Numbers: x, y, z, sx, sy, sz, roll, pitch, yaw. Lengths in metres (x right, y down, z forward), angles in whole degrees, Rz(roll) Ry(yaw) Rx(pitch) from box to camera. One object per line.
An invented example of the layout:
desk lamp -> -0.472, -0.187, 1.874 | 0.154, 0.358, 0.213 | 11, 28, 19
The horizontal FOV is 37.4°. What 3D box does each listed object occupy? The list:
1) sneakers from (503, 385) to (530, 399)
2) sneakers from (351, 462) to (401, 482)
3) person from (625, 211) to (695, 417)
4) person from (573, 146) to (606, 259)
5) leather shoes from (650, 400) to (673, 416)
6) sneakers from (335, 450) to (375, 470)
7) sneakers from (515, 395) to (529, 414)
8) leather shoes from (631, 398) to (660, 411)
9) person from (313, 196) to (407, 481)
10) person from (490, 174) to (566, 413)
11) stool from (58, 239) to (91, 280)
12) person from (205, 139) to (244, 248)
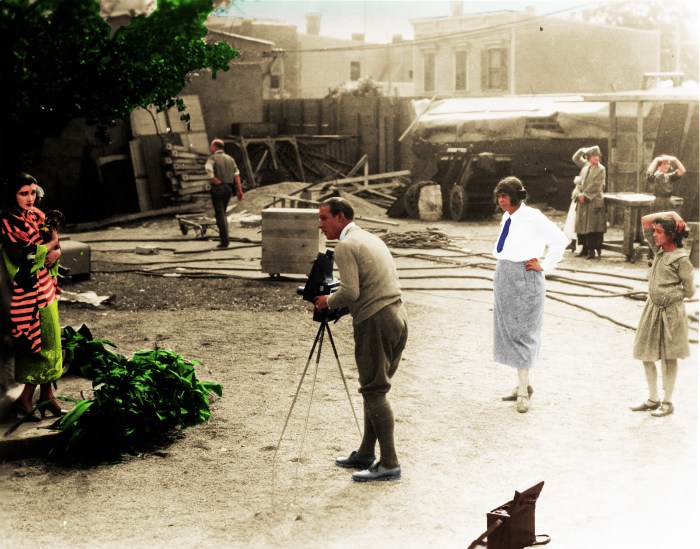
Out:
sneakers -> 1.926, 1.303, 11.589 | 0.377, 0.137, 0.122 | -3, 2, -4
sneakers -> 0.280, 1.901, 10.079 | 0.431, 0.157, 0.178 | 3, -7, -4
person -> 3.427, 0.403, 11.248 | 0.611, 2.155, 0.596 | 5, 11, 25
person -> 4.543, -1.373, 19.444 | 0.603, 2.040, 0.819 | 3, 10, 12
leather shoes -> 3.363, 1.445, 11.208 | 0.327, 0.118, 0.109 | 0, -8, -24
sneakers -> 0.054, 1.835, 10.287 | 0.391, 0.155, 0.169 | 4, 0, 1
sneakers -> 1.891, 1.407, 11.317 | 0.149, 0.160, 0.421 | -2, -7, 8
leather shoes -> 3.239, 1.416, 11.347 | 0.370, 0.140, 0.117 | 0, -3, 12
person -> 0.146, 0.609, 10.069 | 0.878, 2.682, 0.611 | 6, 11, 29
person -> 1.965, 0.184, 11.444 | 0.775, 2.485, 0.635 | 2, 10, 8
stool -> -4.342, -0.242, 16.531 | 0.589, 0.645, 1.016 | -2, 9, -14
person -> -2.354, -1.506, 19.506 | 0.630, 2.041, 1.250 | 0, 9, -6
